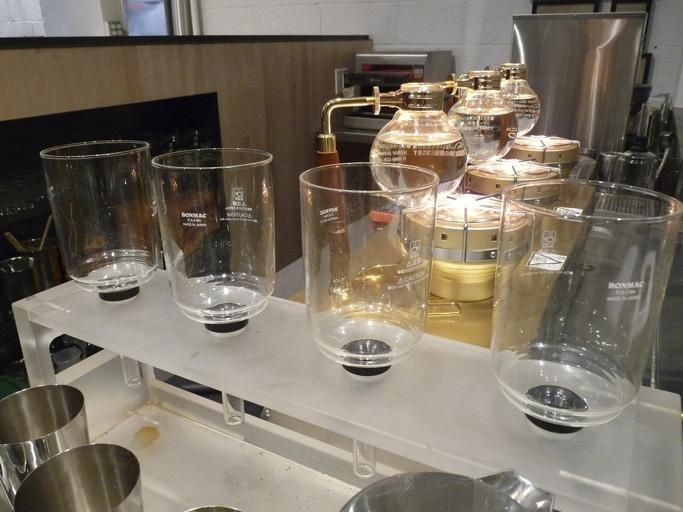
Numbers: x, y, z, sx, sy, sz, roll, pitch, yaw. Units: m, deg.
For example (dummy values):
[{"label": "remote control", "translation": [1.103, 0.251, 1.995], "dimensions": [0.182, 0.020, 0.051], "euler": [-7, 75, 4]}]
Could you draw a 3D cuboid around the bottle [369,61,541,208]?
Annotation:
[{"label": "bottle", "translation": [0.174, -0.244, 0.980], "dimensions": [0.322, 0.222, 0.199], "euler": [13, 27, 36]}]
